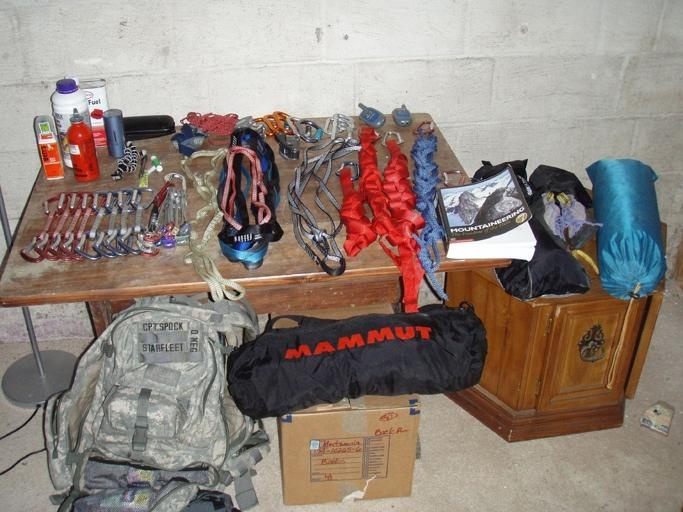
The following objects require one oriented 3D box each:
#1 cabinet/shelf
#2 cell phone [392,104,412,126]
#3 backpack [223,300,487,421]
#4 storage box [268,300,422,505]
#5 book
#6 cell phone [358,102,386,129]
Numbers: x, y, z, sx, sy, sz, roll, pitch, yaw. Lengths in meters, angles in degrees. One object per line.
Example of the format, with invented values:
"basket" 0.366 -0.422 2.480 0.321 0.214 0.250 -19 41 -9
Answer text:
"cabinet/shelf" 0.772 0.359 2.488 1.037 0.853 0.820 -5 37 -4
"cell phone" 0.235 -0.557 2.224 0.063 0.071 0.098 -2 44 1
"backpack" 0.064 0.316 1.966 0.820 0.239 0.387 -4 21 -6
"storage box" 0.021 0.634 2.111 0.452 0.442 0.343 -1 -4 -3
"book" 0.439 -0.110 1.774 0.283 0.133 0.271 -7 57 1
"cell phone" 0.118 -0.544 2.237 0.078 0.045 0.124 -34 59 -9
